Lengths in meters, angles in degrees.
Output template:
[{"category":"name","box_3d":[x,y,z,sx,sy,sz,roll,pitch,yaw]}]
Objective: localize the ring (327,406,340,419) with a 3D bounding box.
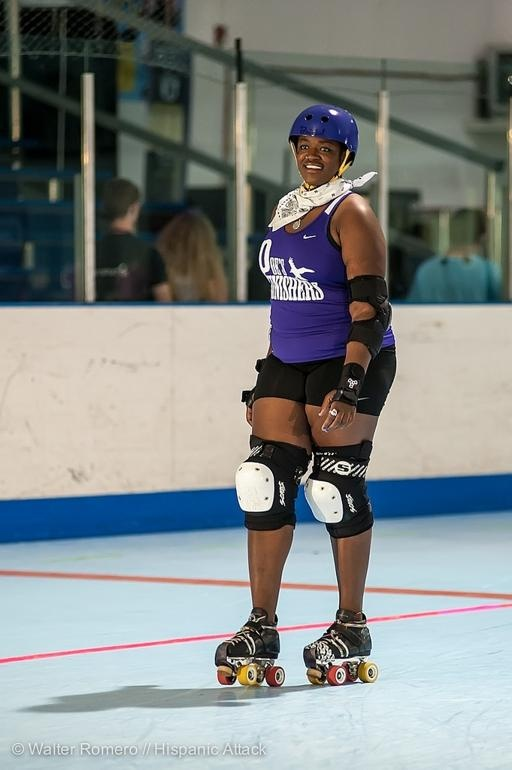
[{"category":"ring","box_3d":[0.174,0.064,2.220,0.035,0.029,0.008,2,0,1]}]

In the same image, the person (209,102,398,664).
[{"category":"person","box_3d":[0.147,-0.017,2.388,0.368,1.354,0.459,4,7,7]}]

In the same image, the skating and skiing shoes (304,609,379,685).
[{"category":"skating and skiing shoes","box_3d":[0.195,0.640,2.353,0.187,0.163,0.103,6,-12,-37]}]

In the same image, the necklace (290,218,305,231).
[{"category":"necklace","box_3d":[0.099,-0.394,2.403,0.023,0.040,0.011,40,-4,24]}]

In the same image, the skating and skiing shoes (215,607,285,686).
[{"category":"skating and skiing shoes","box_3d":[-0.020,0.625,2.312,0.102,0.164,0.188,-12,-17,42]}]

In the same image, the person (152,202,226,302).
[{"category":"person","box_3d":[-0.381,-0.700,5.490,0.518,0.296,0.745,6,-10,4]}]

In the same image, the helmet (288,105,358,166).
[{"category":"helmet","box_3d":[0.174,-0.639,2.470,0.143,0.141,0.160,9,-21,20]}]
